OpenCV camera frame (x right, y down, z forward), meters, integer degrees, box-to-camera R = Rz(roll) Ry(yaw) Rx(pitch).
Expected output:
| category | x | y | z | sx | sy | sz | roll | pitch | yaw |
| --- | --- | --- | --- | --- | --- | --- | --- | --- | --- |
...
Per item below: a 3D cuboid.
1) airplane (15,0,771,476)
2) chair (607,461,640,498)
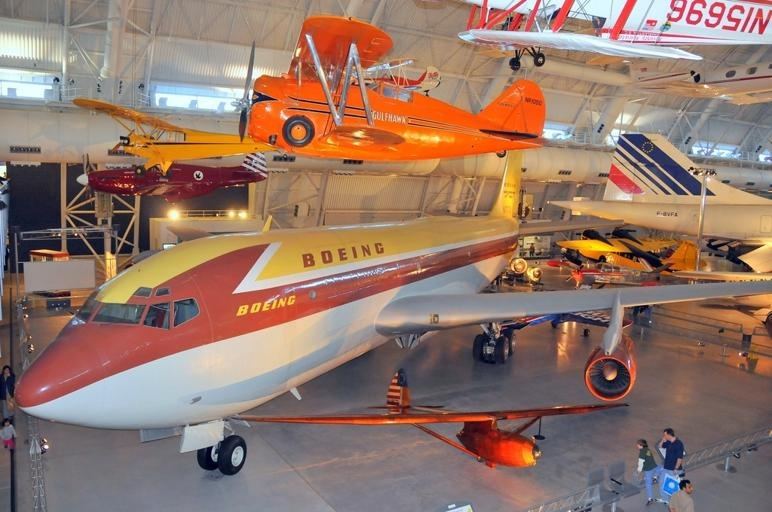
| category | x | y | z | sx | sy | sz | roll | pitch | yaw |
| --- | --- | --- | --- | --- | --- | --- | --- | --- | --- |
| airplane | -0.620 | -0.065 | 19.361 | 18.370 | 14.083 | 12.625 | -6 | 20 | -38 |
| chair | 7.224 | 6.971 | 18.642 | 0.894 | 0.764 | 0.819 | -7 | 11 | -14 |
